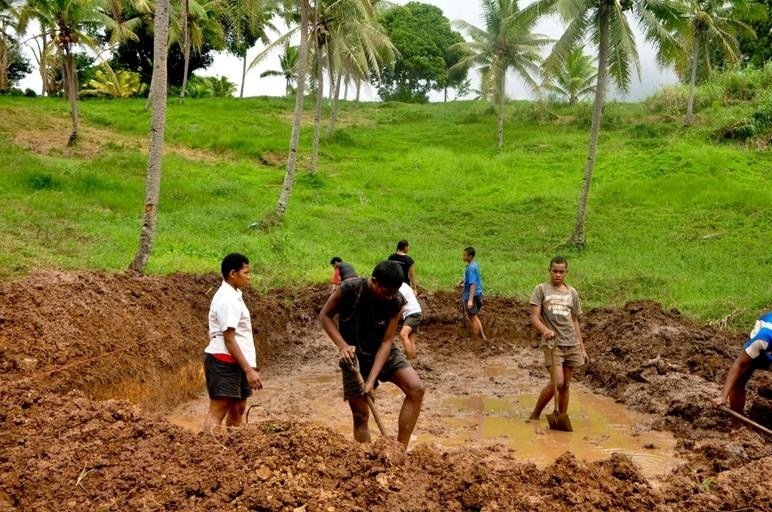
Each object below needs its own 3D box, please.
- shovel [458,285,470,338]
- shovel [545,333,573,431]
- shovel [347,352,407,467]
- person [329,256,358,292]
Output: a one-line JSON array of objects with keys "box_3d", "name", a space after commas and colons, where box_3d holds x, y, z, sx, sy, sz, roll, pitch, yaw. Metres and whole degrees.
[{"box_3d": [2.710, 1.975, 35.183, 0.472, 0.743, 1.537, 10, 30, -7], "name": "shovel"}, {"box_3d": [5.107, 3.834, 30.236, 0.440, 2.732, 1.044, -7, 14, -41], "name": "shovel"}, {"box_3d": [-0.305, 4.410, 28.944, 0.587, 3.101, 0.714, -26, -6, 1], "name": "shovel"}, {"box_3d": [-1.425, 0.591, 32.642, 0.495, 0.731, 1.207, 26, 4, -23], "name": "person"}]
